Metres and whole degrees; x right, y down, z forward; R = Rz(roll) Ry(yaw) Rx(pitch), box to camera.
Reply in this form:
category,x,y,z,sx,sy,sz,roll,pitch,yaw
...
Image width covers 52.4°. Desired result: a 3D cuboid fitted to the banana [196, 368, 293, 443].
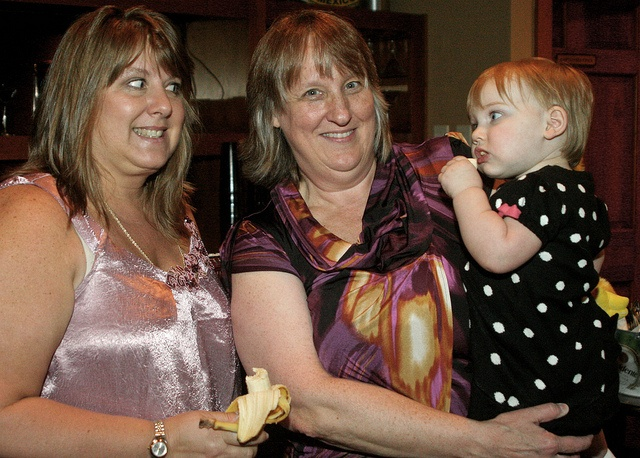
category,x,y,z,sx,sy,sz,roll,pitch,yaw
banana,-0.234,0.578,2.032,0.130,0.169,0.391,42,5,33

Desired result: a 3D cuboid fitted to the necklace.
category,x,y,z,sx,sy,sz,roll,pitch,yaw
necklace,-0.615,0.034,2.374,0.265,0.012,0.188,42,8,-51

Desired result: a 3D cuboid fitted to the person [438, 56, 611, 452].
category,x,y,z,sx,sy,sz,roll,pitch,yaw
person,0.750,0.147,2.317,0.634,1.489,0.417,0,10,9
